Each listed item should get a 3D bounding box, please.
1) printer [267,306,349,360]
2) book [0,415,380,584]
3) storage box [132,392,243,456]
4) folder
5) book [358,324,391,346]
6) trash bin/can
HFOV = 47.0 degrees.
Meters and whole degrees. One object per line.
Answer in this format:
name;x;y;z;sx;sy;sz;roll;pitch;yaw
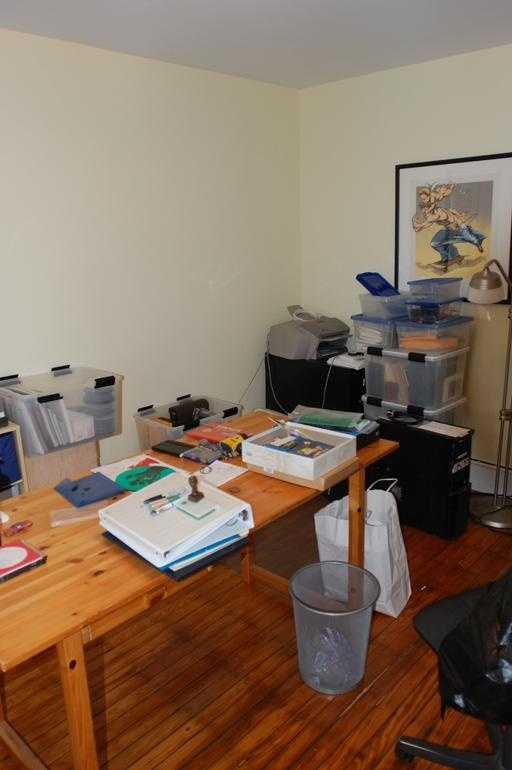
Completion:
printer;0.406;-0.396;4.249;0.476;0.328;0.602;12;20;38
book;-0.229;0.386;2.032;0.362;0.337;0.692;14;25;38
storage box;-0.387;0.113;3.179;0.319;0.294;0.467;13;23;33
folder;-0.201;0.351;1.560;0.234;0.066;0.242;-15;21;-40
book;0.709;-0.308;3.502;0.150;0.052;0.123;14;27;37
trash bin/can;0.269;0.843;2.166;0.360;0.380;0.383;2;18;9
